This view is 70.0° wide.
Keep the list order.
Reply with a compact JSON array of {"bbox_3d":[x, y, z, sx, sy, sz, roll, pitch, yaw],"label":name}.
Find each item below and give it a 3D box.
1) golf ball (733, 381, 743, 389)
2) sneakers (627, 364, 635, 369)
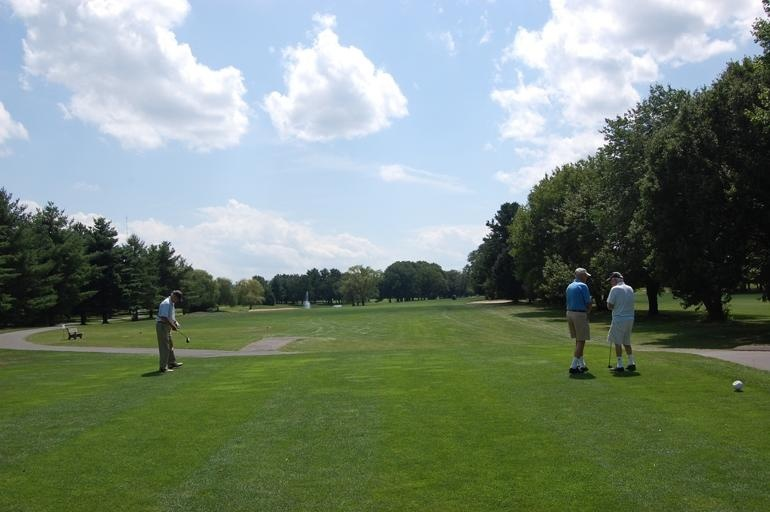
[{"bbox_3d":[9.807,3.580,15.334,0.221,0.164,0.219,2,-3,0],"label":"golf ball"},{"bbox_3d":[7.930,3.577,17.767,0.294,0.205,0.165,-4,-5,25],"label":"sneakers"}]
